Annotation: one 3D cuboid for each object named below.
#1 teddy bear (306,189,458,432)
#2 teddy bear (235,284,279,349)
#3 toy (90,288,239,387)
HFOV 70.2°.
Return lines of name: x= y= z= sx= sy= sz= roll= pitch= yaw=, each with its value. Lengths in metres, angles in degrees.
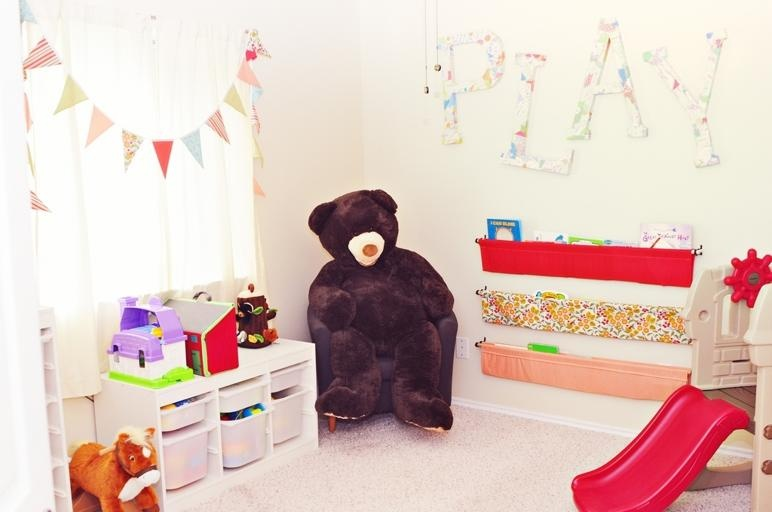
teddy bear: x=-0.039 y=0.334 z=3.192 sx=0.866 sy=1.378 sz=0.675 roll=0 pitch=12 yaw=2
teddy bear: x=-0.715 y=0.319 z=3.008 sx=0.214 sy=0.354 sz=0.150 roll=-2 pitch=12 yaw=-7
toy: x=-1.013 y=0.335 z=2.597 sx=0.454 sy=0.299 sz=0.466 roll=2 pitch=1 yaw=37
